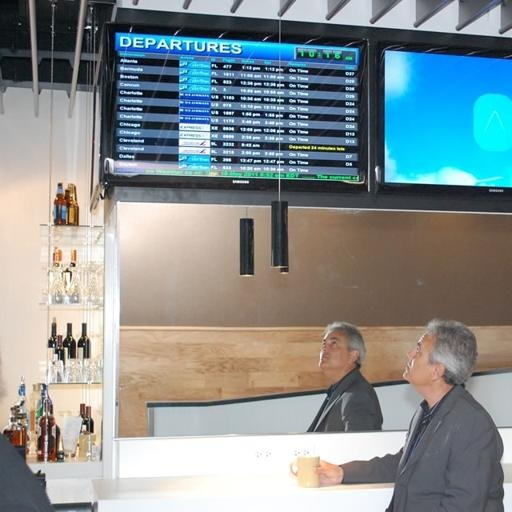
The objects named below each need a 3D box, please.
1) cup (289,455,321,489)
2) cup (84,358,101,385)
[{"bbox_3d":[0.188,0.816,3.163,0.111,0.117,0.076,0,-6,7],"label":"cup"},{"bbox_3d":[-0.898,0.627,4.590,0.088,0.122,0.253,-1,3,-11],"label":"cup"}]
